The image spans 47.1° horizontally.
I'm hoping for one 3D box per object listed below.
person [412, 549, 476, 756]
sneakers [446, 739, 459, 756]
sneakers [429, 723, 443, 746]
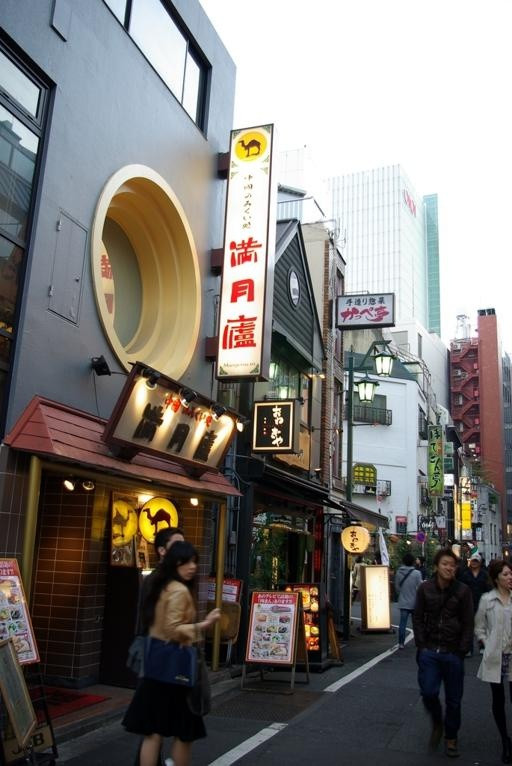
[{"bbox_3d":[1.596,2.260,4.983,0.512,1.624,0.504,-2,-11,19],"label":"person"},{"bbox_3d":[1.582,2.941,4.712,0.095,0.116,0.251,-2,-12,19],"label":"sneakers"},{"bbox_3d":[1.484,2.920,4.835,0.089,0.222,0.269,-1,-11,12],"label":"sneakers"}]
